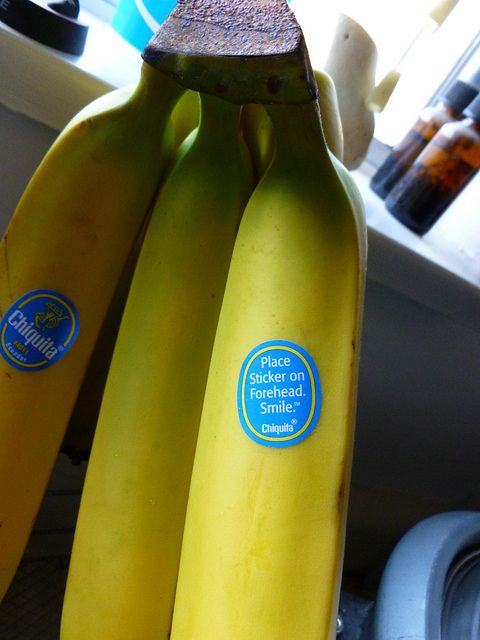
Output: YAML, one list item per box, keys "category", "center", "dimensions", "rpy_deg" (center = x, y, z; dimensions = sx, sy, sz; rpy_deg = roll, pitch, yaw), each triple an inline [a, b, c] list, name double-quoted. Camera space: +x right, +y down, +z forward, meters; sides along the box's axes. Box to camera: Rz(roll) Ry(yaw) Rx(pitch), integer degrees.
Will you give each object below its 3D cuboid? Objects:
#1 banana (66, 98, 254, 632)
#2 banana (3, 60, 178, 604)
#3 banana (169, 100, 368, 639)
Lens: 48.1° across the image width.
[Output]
- category: "banana"
  center: [-0.053, 0.039, 0.436]
  dimensions: [0.075, 0.598, 0.084]
  rpy_deg: [6, -1, 7]
- category: "banana"
  center: [-0.141, 0.091, 0.467]
  dimensions: [0.086, 0.537, 0.161]
  rpy_deg: [11, 11, -4]
- category: "banana"
  center: [0.028, -0.020, 0.414]
  dimensions: [0.091, 0.447, 0.128]
  rpy_deg: [5, -7, 1]
